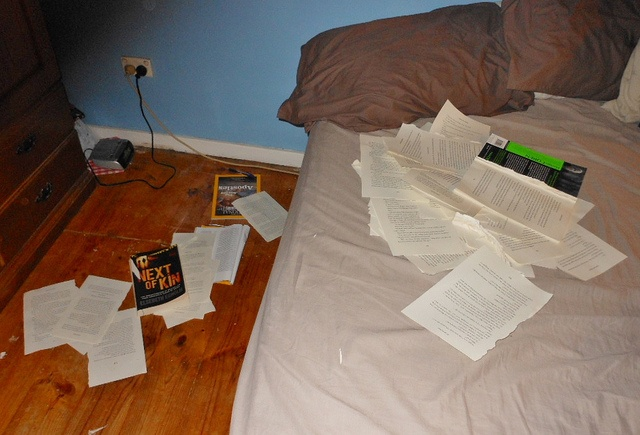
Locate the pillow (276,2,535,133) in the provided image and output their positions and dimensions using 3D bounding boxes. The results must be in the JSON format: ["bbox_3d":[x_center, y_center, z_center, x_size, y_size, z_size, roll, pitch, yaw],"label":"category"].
[{"bbox_3d":[0.362,-0.650,2.049,0.915,0.266,0.540,-6,80,3],"label":"pillow"}]

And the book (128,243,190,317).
[{"bbox_3d":[-0.708,0.271,1.933,0.213,0.093,0.289,-11,50,-18],"label":"book"}]

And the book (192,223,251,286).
[{"bbox_3d":[-0.430,0.157,2.061,0.250,0.090,0.252,-2,60,-4],"label":"book"}]
